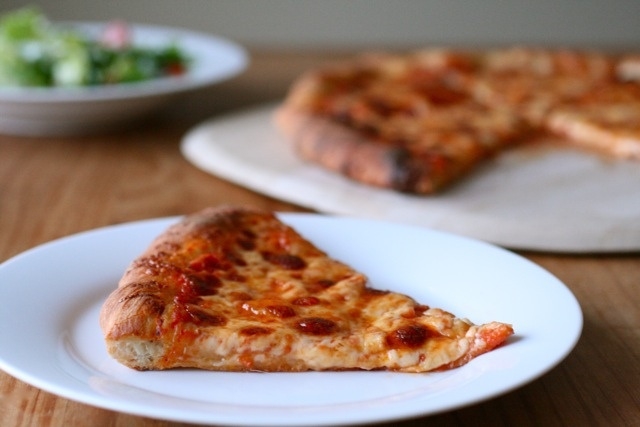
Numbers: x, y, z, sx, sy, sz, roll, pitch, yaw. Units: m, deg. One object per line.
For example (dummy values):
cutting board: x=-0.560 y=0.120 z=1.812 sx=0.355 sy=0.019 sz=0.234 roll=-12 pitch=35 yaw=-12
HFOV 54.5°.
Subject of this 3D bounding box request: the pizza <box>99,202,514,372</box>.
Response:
pizza: x=-0.050 y=0.054 z=0.669 sx=0.297 sy=0.053 sz=0.201 roll=6 pitch=18 yaw=15
